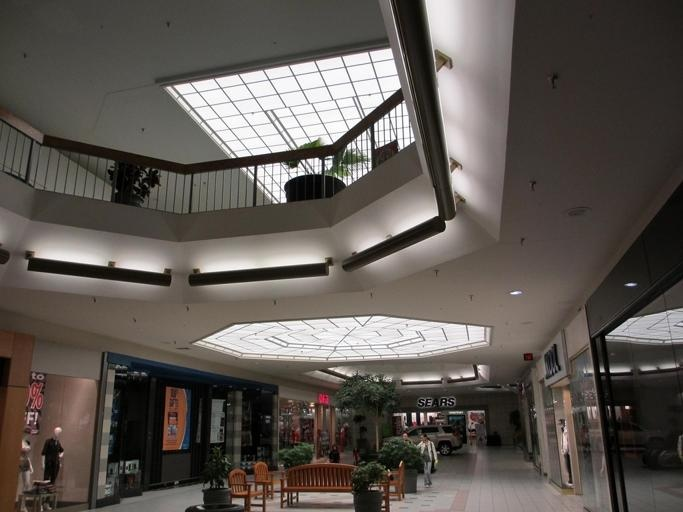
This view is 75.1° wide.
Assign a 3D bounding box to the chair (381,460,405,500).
[{"bbox_3d":[1.706,6.794,13.544,0.568,1.020,0.733,2,-14,25],"label":"chair"}]

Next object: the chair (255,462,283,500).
[{"bbox_3d":[-2.203,6.548,13.077,0.533,0.947,0.687,-8,-21,8],"label":"chair"}]

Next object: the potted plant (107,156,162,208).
[{"bbox_3d":[-4.800,-1.621,9.951,0.945,1.065,0.974,-2,-12,14],"label":"potted plant"}]

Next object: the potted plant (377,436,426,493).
[{"bbox_3d":[1.937,6.939,14.763,1.288,1.719,1.482,0,-14,6],"label":"potted plant"}]
